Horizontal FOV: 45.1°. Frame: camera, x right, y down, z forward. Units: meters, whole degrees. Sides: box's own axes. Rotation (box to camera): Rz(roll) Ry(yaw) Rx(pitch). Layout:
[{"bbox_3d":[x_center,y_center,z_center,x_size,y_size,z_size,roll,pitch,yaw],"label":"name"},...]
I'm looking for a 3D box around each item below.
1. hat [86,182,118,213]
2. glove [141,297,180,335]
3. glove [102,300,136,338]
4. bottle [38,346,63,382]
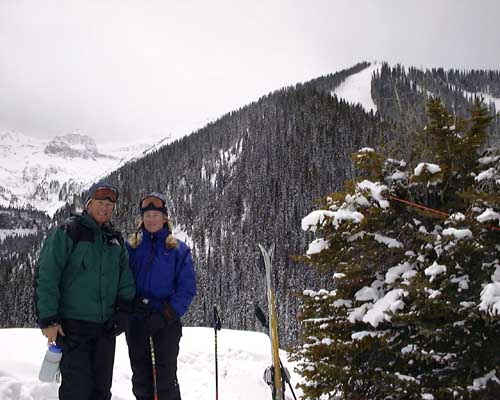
[{"bbox_3d":[-2.990,-0.091,12.195,0.457,0.716,0.519,13,17,-21],"label":"hat"},{"bbox_3d":[-1.756,2.349,11.933,0.684,0.607,0.171,-2,-5,-9],"label":"glove"},{"bbox_3d":[-2.552,2.331,11.765,0.490,0.674,0.186,42,-17,-22],"label":"glove"},{"bbox_3d":[-3.796,3.108,11.438,0.422,0.760,0.239,0,-5,-24],"label":"bottle"}]
